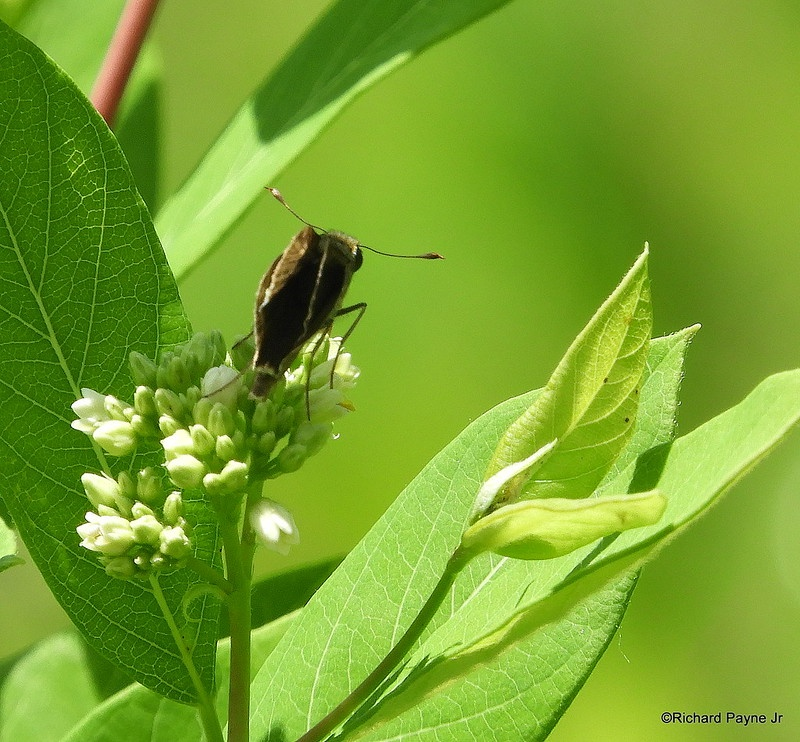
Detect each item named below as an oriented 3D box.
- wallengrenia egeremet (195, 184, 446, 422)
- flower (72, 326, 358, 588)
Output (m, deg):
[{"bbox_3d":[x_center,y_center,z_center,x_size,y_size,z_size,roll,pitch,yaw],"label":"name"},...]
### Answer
[{"bbox_3d":[-0.103,-0.077,1.222,0.251,0.181,0.142,-36,-89,-9],"label":"wallengrenia egeremet"},{"bbox_3d":[-0.251,0.100,1.256,0.271,0.350,0.163,3,-34,0],"label":"flower"}]
